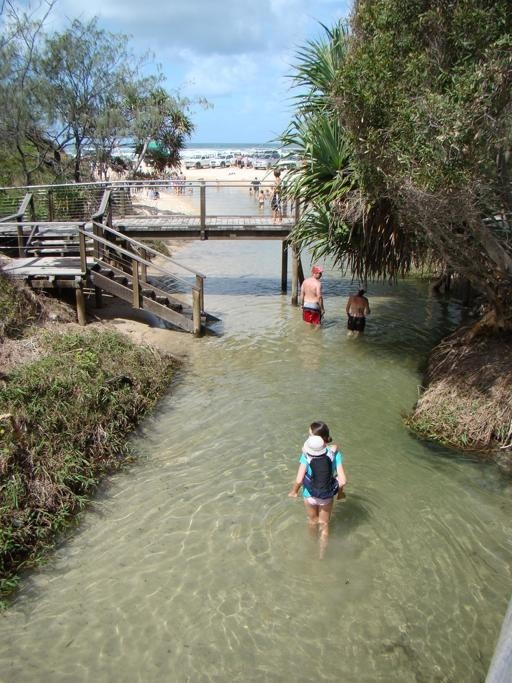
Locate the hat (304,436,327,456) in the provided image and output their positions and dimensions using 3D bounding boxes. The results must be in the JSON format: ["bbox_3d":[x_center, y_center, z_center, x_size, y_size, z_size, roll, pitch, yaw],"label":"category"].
[{"bbox_3d":[0.612,1.113,5.526,0.246,0.231,0.146,0,10,9],"label":"hat"}]

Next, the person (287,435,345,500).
[{"bbox_3d":[0.676,1.385,5.596,0.506,0.797,0.205,0,10,8],"label":"person"}]

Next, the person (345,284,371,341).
[{"bbox_3d":[2.749,-0.841,14.171,0.578,1.320,0.975,0,10,11],"label":"person"}]

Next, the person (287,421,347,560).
[{"bbox_3d":[0.700,1.716,5.799,0.676,1.283,0.517,-13,25,-12],"label":"person"}]
